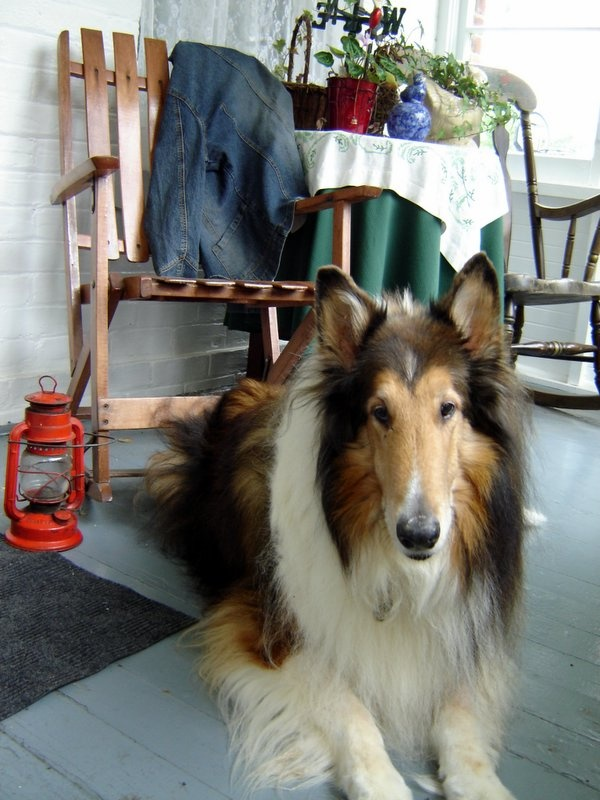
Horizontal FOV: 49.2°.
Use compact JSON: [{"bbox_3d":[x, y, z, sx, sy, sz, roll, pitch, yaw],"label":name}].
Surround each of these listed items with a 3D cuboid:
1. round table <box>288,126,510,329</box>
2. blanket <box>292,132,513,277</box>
[{"bbox_3d":[0.372,-0.773,2.930,1.041,0.739,0.842,-1,18,-13],"label":"round table"},{"bbox_3d":[0.430,-0.659,2.515,0.670,0.389,0.736,2,19,-3],"label":"blanket"}]
